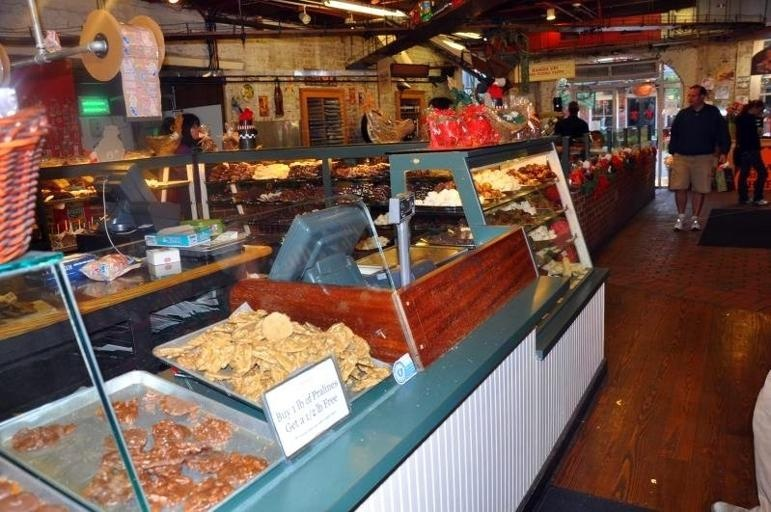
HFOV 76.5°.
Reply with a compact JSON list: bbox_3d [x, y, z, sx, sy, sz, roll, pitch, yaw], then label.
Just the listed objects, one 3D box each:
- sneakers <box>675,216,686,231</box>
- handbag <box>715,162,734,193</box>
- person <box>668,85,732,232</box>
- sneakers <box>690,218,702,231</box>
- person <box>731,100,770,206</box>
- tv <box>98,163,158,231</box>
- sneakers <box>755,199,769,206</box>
[{"bbox_3d":[4.859,-0.542,8.106,0.134,0.233,0.353,4,33,22],"label":"sneakers"},{"bbox_3d":[7.645,-1.801,11.122,0.307,0.731,0.800,2,16,37],"label":"handbag"},{"bbox_3d":[4.903,-1.541,7.806,0.796,2.311,1.182,6,19,25],"label":"person"},{"bbox_3d":[5.064,-0.530,8.029,0.143,0.163,0.415,0,5,24],"label":"sneakers"},{"bbox_3d":[7.332,-2.111,9.827,0.636,1.991,1.036,5,19,24],"label":"person"},{"bbox_3d":[-2.015,-0.450,3.793,0.488,0.491,0.493,7,8,31],"label":"tv"},{"bbox_3d":[7.431,-1.070,9.728,0.132,0.158,0.433,-4,-1,37],"label":"sneakers"}]
